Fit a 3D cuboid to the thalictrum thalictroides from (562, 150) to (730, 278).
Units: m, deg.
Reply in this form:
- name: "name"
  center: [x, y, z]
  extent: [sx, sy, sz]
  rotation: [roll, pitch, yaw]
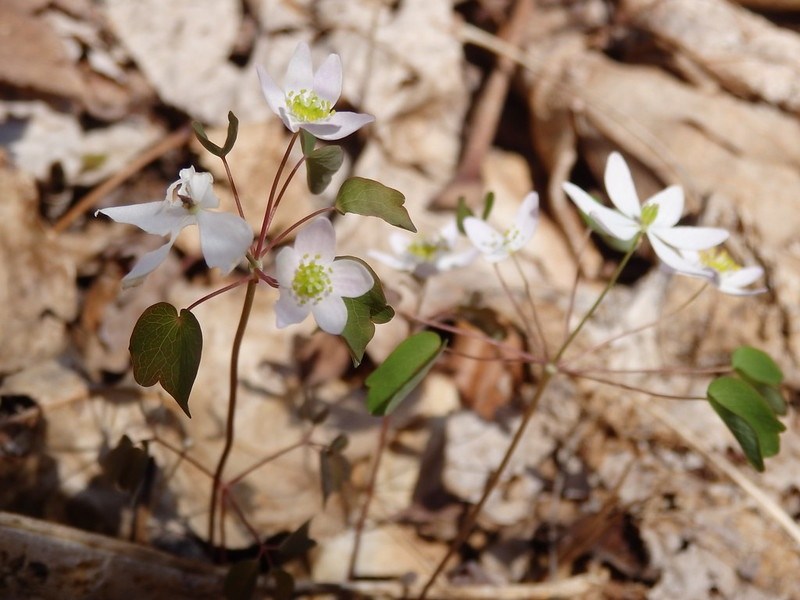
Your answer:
- name: "thalictrum thalictroides"
  center: [0.621, -0.201, 2.540]
  extent: [0.312, 0.394, 0.355]
  rotation: [-31, 83, -4]

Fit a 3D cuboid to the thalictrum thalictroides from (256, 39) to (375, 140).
- name: "thalictrum thalictroides"
  center: [-0.241, -0.496, 2.448]
  extent: [0.274, 0.106, 0.265]
  rotation: [20, 55, -24]

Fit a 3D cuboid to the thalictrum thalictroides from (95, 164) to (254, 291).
- name: "thalictrum thalictroides"
  center: [-0.553, -0.223, 2.349]
  extent: [0.318, 0.147, 0.320]
  rotation: [43, 94, -17]
